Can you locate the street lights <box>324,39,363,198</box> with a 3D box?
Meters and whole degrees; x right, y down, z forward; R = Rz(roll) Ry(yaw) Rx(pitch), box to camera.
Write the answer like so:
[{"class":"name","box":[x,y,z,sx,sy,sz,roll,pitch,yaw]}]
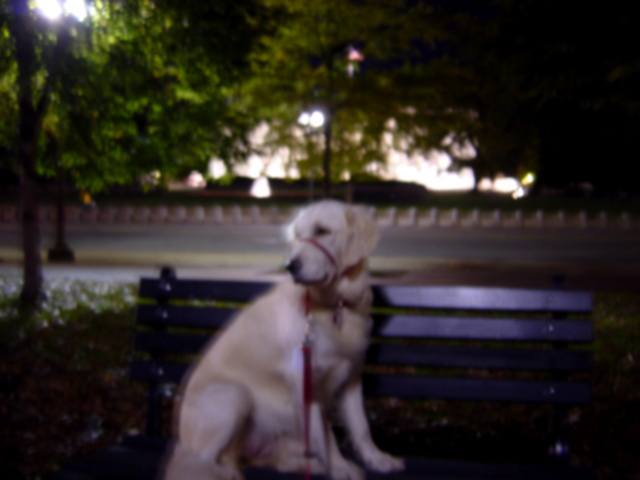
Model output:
[{"class":"street lights","box":[0.275,-2.287,16.032,0.756,2.670,0.987,1,-4,28]}]
